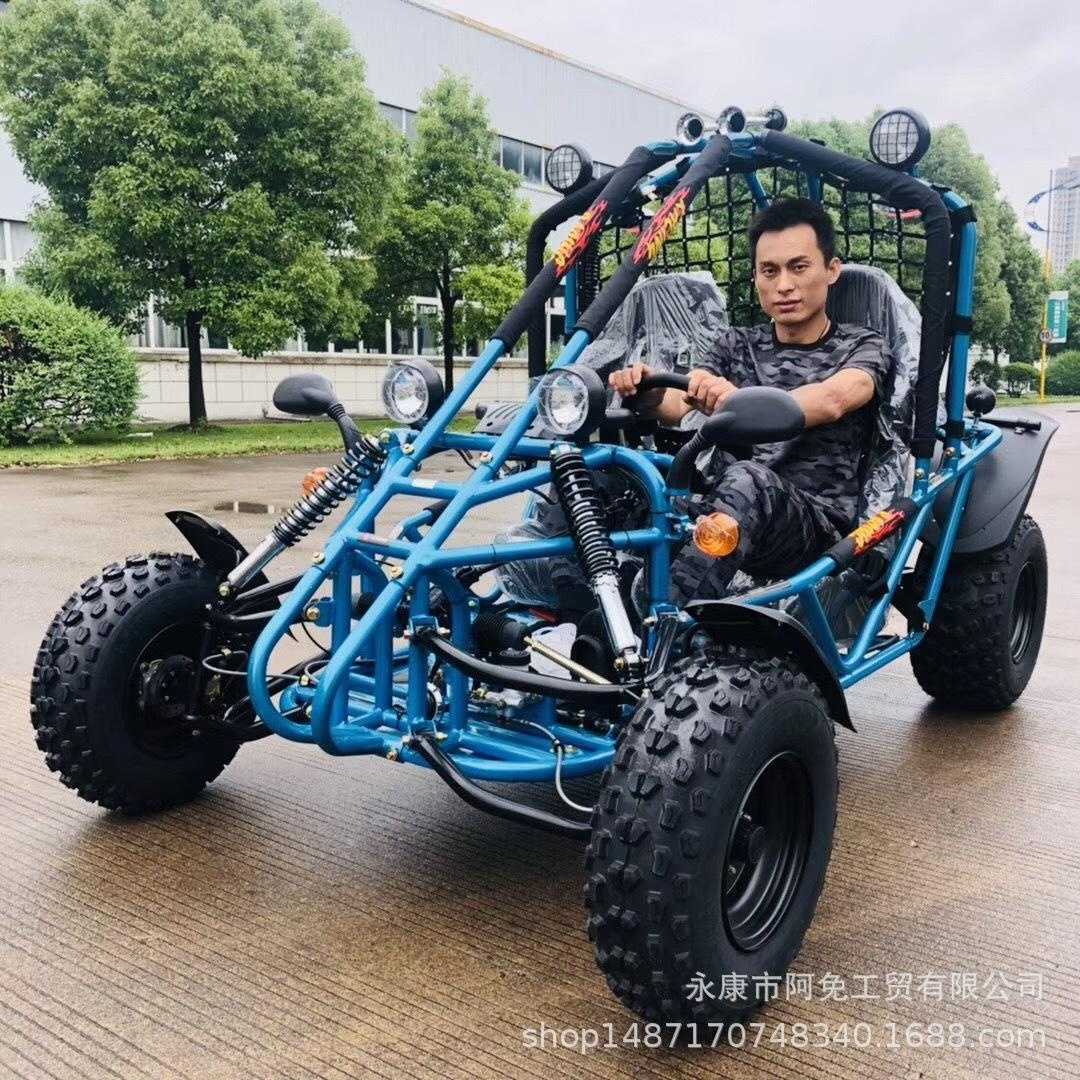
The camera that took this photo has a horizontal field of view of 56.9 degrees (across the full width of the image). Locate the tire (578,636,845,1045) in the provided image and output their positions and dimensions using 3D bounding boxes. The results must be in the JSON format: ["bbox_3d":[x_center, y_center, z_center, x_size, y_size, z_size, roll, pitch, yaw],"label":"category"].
[{"bbox_3d":[0.341,0.584,1.987,0.277,0.686,0.627,7,10,33],"label":"tire"}]

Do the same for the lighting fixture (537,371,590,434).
[{"bbox_3d":[0.057,-0.318,2.316,0.144,0.152,0.059,6,11,35],"label":"lighting fixture"}]

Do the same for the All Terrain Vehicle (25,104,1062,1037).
[{"bbox_3d":[0.275,-0.254,2.964,1.888,2.158,2.703,8,11,41],"label":"All Terrain Vehicle"}]

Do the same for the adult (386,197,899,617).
[{"bbox_3d":[0.486,-0.430,2.995,1.150,1.155,0.865,-11,17,-39],"label":"adult"}]

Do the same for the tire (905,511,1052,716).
[{"bbox_3d":[1.605,0.272,3.675,0.340,0.736,0.793,4,5,27],"label":"tire"}]

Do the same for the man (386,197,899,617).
[{"bbox_3d":[0.500,-0.405,3.005,1.150,1.144,0.868,-12,17,-39],"label":"man"}]

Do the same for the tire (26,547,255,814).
[{"bbox_3d":[-1.082,0.416,2.755,0.190,0.550,0.568,-2,45,39],"label":"tire"}]

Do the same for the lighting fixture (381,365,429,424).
[{"bbox_3d":[-0.370,-0.389,2.705,0.121,0.160,0.223,-1,8,-9],"label":"lighting fixture"}]
